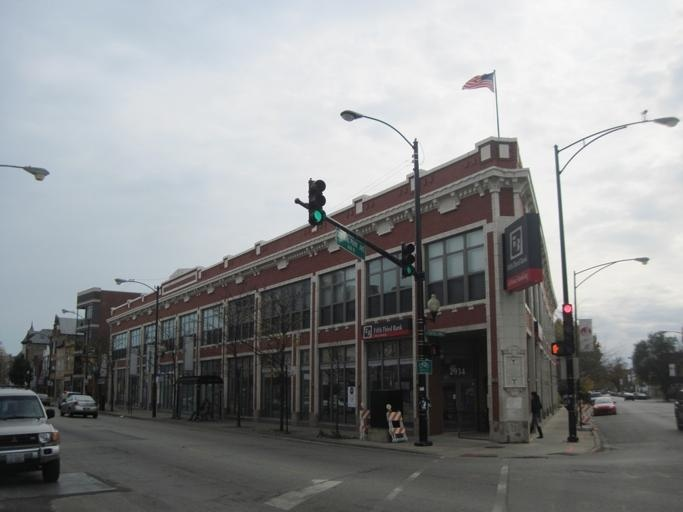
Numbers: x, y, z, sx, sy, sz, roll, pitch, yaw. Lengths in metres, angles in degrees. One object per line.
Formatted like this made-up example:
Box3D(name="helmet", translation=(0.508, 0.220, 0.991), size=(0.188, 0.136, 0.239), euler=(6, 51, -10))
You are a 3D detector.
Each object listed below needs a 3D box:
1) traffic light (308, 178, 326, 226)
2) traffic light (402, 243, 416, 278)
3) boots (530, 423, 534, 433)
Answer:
Box3D(name="traffic light", translation=(-0.810, -1.790, 23.636), size=(0.511, 1.568, 0.532), euler=(-1, -14, -4))
Box3D(name="traffic light", translation=(2.586, 0.093, 28.142), size=(0.492, 1.410, 0.938), euler=(-3, -15, 4))
Box3D(name="boots", translation=(8.280, 7.476, 31.451), size=(0.157, 0.425, 0.741), euler=(-5, -17, 15))
